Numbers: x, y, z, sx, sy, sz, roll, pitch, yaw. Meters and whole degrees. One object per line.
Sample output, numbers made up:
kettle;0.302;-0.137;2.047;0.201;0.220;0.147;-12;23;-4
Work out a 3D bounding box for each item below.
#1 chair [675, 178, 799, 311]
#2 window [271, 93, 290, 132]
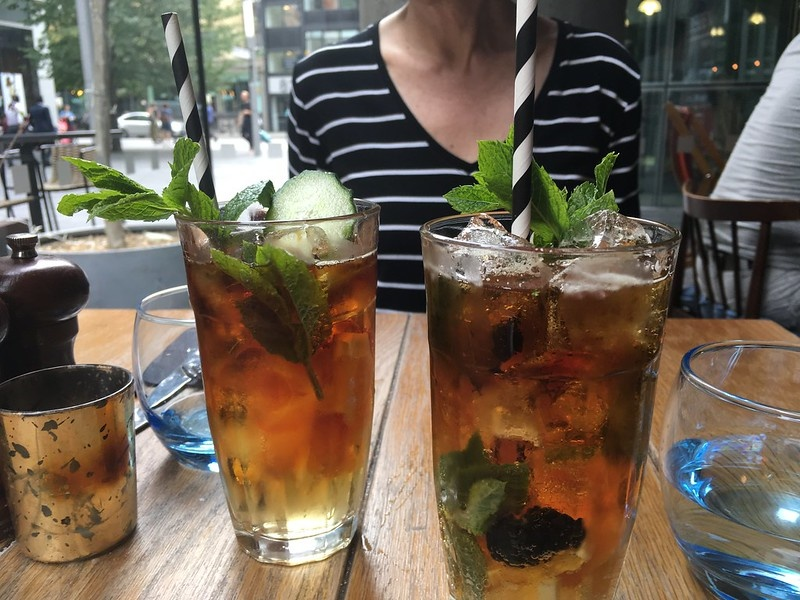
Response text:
chair;1.198;-0.185;2.364;0.308;0.429;0.357;-25;31;-26
window;-1.783;-2.915;10.458;0.310;0.524;0.310;-3;18;3
